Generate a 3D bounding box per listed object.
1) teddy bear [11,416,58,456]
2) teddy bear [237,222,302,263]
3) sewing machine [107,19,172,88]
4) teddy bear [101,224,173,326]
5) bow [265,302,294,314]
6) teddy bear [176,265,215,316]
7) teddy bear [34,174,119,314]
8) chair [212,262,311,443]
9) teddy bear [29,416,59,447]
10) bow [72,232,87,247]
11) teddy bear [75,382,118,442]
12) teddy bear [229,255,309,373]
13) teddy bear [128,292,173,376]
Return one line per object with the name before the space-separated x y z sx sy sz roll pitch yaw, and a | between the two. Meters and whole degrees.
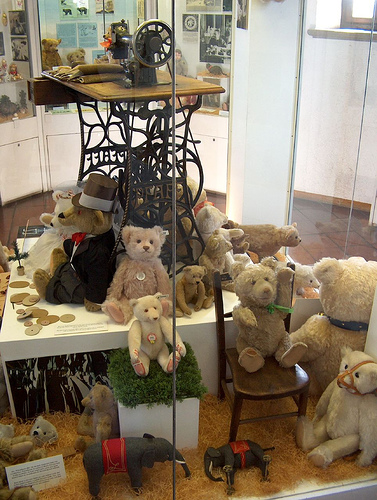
teddy bear | -0.592 0.726 1.531 0.108 0.076 0.189 23 15 7
teddy bear | 0.401 -0.060 2.327 0.454 0.224 0.145 14 18 15
sewing machine | -0.217 -0.776 1.566 0.190 0.222 0.357 -18 35 -31
teddy bear | -0.234 0.100 1.824 0.305 0.455 0.268 -6 30 -17
bow | 0.353 0.225 1.567 0.081 0.031 0.043 8 46 8
teddy bear | 0.000 0.172 1.883 0.161 0.229 0.217 -5 28 -19
teddy bear | -0.541 -0.057 1.929 0.405 0.585 0.393 3 20 10
chair | 0.254 0.411 1.607 0.431 0.639 0.411 -2 18 -8
teddy bear | -0.569 0.717 1.589 0.071 0.048 0.070 39 45 5
bow | -0.525 -0.049 1.956 0.021 0.066 0.068 17 -20 -41
teddy bear | -0.351 0.633 1.575 0.172 0.222 0.215 -1 10 -23
teddy bear | 0.308 0.251 1.549 0.319 0.416 0.309 5 12 37
teddy bear | -0.130 0.321 1.544 0.210 0.286 0.217 1 14 0
